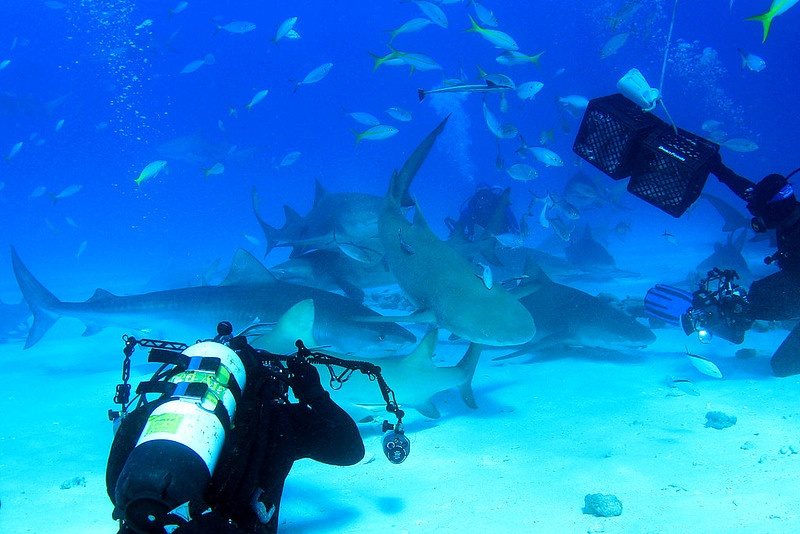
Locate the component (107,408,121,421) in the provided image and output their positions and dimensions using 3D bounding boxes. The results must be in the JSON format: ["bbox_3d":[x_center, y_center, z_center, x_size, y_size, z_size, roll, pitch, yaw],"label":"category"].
[{"bbox_3d":[-12.111,6.202,27.317,0.453,0.219,0.619,0,4,-34],"label":"component"}]

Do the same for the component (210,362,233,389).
[{"bbox_3d":[-7.360,4.529,26.913,0.921,0.670,0.333,35,18,6],"label":"component"}]
